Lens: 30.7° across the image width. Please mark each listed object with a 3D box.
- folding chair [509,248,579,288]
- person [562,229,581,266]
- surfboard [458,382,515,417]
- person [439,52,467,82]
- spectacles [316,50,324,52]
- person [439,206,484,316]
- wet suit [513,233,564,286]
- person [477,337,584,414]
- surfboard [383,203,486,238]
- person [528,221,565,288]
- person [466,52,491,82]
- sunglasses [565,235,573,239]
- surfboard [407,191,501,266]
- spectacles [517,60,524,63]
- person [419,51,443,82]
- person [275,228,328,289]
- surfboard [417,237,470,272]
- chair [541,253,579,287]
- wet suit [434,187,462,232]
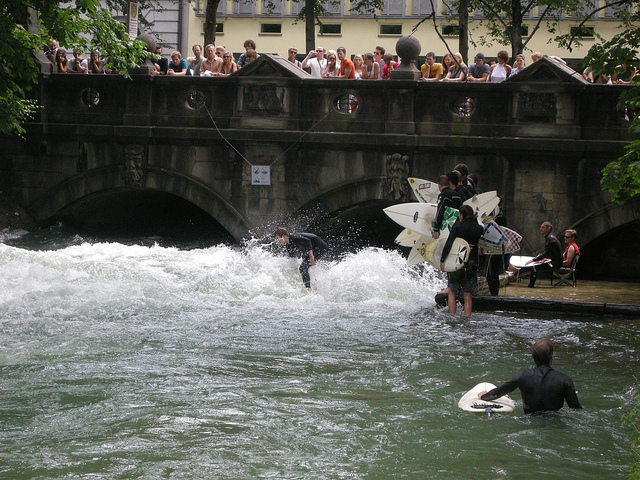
[{"bbox_3d":[5.352,0.629,26.662,1.001,0.799,0.995,-2,7,-32],"label":"folding chair"},{"bbox_3d":[5.723,0.149,26.544,0.360,0.794,0.705,0,1,13],"label":"person"},{"bbox_3d":[2.733,2.583,19.257,0.963,0.339,1.873,-3,10,6],"label":"surfboard"},{"bbox_3d":[3.267,-4.144,28.258,0.550,0.785,0.821,-5,8,35],"label":"person"},{"bbox_3d":[-0.019,-4.734,29.349,0.112,0.044,0.101,-1,1,1],"label":"spectacles"},{"bbox_3d":[2.816,0.400,23.110,0.732,2.154,0.509,0,1,27],"label":"person"},{"bbox_3d":[5.035,0.415,26.383,0.857,1.165,0.923,-2,9,-30],"label":"wet suit"},{"bbox_3d":[3.517,2.273,19.497,1.141,1.440,0.433,3,45,14],"label":"person"},{"bbox_3d":[2.145,-0.446,24.079,1.662,0.791,0.957,1,3,37],"label":"surfboard"},{"bbox_3d":[5.155,0.304,26.486,0.801,1.413,1.451,0,1,12],"label":"person"},{"bbox_3d":[3.844,-4.082,28.121,0.555,0.764,0.669,-2,-8,34],"label":"person"},{"bbox_3d":[5.634,-0.093,26.436,0.103,0.085,0.234,-1,1,-26],"label":"sunglasses"},{"bbox_3d":[2.728,-0.235,23.645,2.288,0.552,0.234,-36,11,-8],"label":"surfboard"},{"bbox_3d":[4.819,-4.273,27.948,0.149,0.046,0.076,-1,1,-17],"label":"spectacles"},{"bbox_3d":[2.726,-4.238,28.651,0.573,0.707,0.857,3,11,21],"label":"person"},{"bbox_3d":[-0.457,0.288,24.884,1.156,1.526,0.888,-8,0,1],"label":"person"},{"bbox_3d":[2.512,0.242,23.304,0.742,0.675,0.653,-2,3,1],"label":"surfboard"},{"bbox_3d":[5.589,0.664,26.632,0.710,0.867,0.620,1,-2,35],"label":"chair"},{"bbox_3d":[2.599,-0.611,23.423,0.728,1.012,0.347,-5,15,-19],"label":"wet suit"}]
